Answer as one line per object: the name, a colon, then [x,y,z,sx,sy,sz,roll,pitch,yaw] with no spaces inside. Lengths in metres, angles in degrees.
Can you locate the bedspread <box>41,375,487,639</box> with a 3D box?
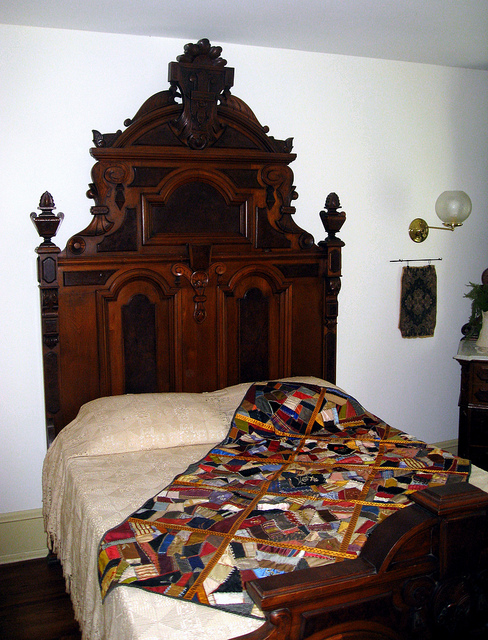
bedspread: [-0.009,0.590,1.881,0.769,0.303,0.760,-9,17,-26]

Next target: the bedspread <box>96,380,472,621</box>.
bedspread: [0.090,0.570,1.804,0.652,0.154,0.638,-11,12,-24]
